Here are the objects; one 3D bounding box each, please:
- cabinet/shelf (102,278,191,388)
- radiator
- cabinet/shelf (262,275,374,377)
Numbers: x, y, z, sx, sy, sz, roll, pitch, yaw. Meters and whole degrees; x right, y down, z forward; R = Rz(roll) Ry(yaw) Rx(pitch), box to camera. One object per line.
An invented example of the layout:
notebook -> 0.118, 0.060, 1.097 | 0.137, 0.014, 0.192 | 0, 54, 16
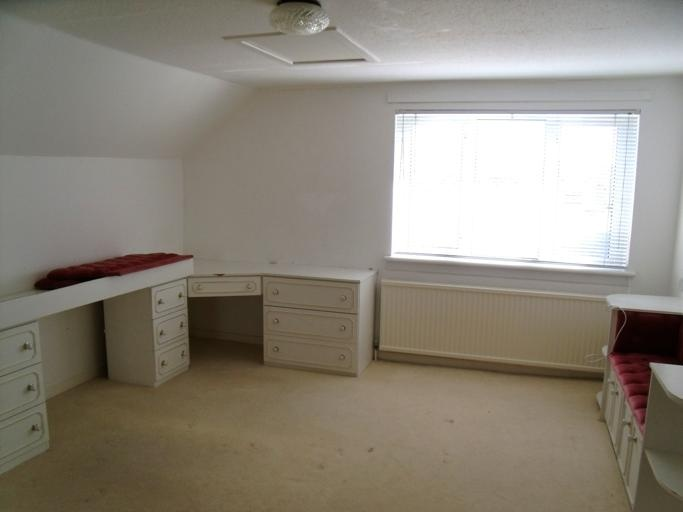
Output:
cabinet/shelf -> -1.567, 0.586, 4.158 | 0.500, 0.813, 0.449 | 4, 9, 22
radiator -> 1.224, 0.572, 4.241 | 1.826, 0.633, 0.143 | 4, 10, 11
cabinet/shelf -> -0.146, 0.404, 4.578 | 1.065, 1.100, 0.748 | 1, 4, 16
